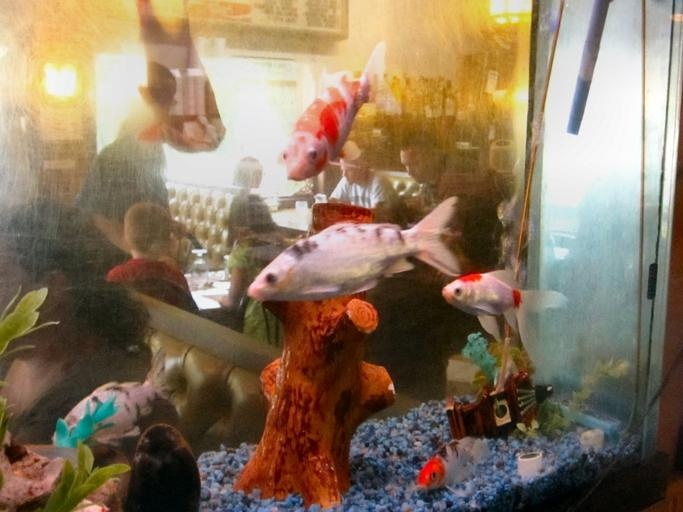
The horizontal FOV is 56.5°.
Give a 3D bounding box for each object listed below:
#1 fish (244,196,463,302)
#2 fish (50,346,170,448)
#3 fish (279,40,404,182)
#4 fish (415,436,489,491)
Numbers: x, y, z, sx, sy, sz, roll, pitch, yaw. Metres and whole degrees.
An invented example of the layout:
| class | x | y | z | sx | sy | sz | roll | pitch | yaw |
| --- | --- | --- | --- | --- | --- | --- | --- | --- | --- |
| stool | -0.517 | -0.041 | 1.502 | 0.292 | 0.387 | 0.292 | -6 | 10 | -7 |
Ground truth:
| class | x | y | z | sx | sy | sz | roll | pitch | yaw |
| --- | --- | --- | --- | --- | --- | --- | --- | --- | --- |
| fish | 0.040 | -0.006 | 1.791 | 0.573 | 0.216 | 0.084 | -10 | 36 | 8 |
| fish | -0.774 | 0.540 | 2.242 | 0.497 | 0.219 | 0.192 | -40 | 37 | -10 |
| fish | 0.002 | -0.442 | 2.031 | 0.149 | 0.236 | 0.527 | 19 | 60 | 39 |
| fish | 0.396 | 0.684 | 2.161 | 0.332 | 0.120 | 0.079 | -11 | 16 | -32 |
